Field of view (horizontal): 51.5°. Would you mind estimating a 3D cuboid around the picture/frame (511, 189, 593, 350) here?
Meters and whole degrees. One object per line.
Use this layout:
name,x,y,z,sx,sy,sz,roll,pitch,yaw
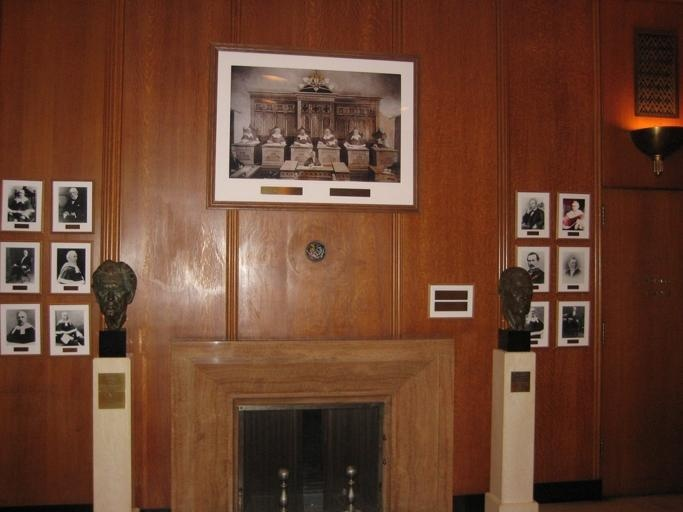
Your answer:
picture/frame,1.816,0.112,6.031,0.701,1.299,0.146,1,-3,-17
